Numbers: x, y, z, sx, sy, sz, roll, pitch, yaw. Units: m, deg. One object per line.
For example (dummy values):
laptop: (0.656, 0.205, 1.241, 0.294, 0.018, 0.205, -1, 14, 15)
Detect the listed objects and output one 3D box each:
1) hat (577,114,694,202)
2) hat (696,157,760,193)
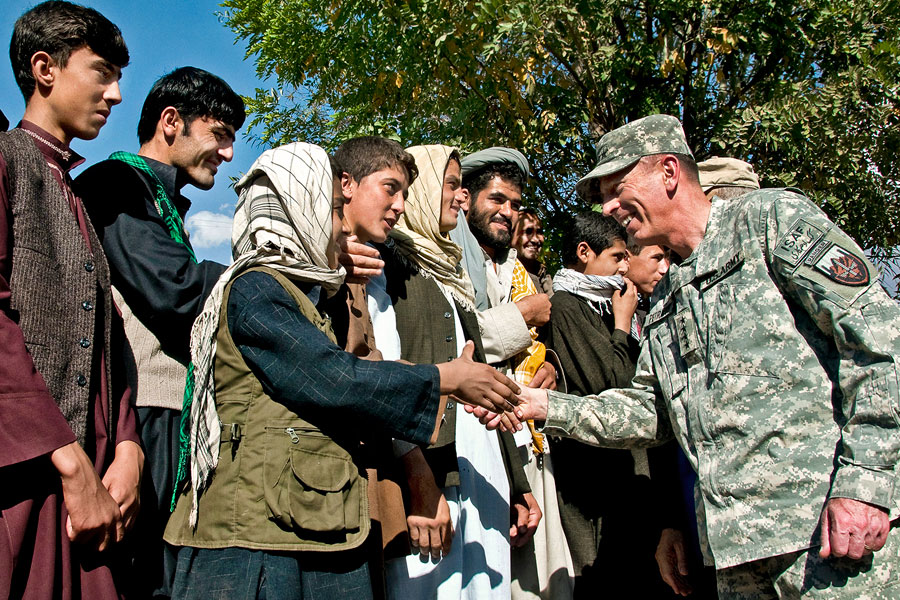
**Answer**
hat: (1.110, -0.899, 5.040, 0.738, 0.318, 0.524, -12, -6, -1)
hat: (1.908, -0.862, 5.641, 0.417, 0.201, 0.308, 0, -6, 37)
